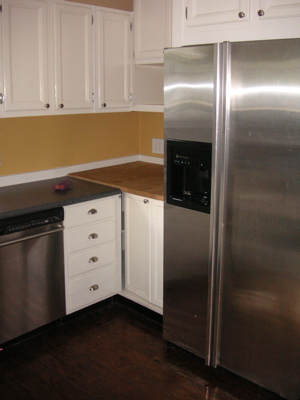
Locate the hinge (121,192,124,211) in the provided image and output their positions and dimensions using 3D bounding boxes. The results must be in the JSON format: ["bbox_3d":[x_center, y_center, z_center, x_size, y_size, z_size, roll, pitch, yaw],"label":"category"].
[{"bbox_3d":[-0.188,0.008,2.278,0.015,0.126,0.026,5,10,28],"label":"hinge"}]

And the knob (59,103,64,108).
[{"bbox_3d":[-0.575,-0.614,2.200,0.009,0.025,0.033,6,11,31],"label":"knob"}]

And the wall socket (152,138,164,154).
[{"bbox_3d":[0.065,-0.472,2.949,0.035,0.136,0.160,-5,11,-33],"label":"wall socket"}]

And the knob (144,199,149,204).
[{"bbox_3d":[-0.025,0.008,2.083,0.019,0.034,0.042,-5,11,-30],"label":"knob"}]

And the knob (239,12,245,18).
[{"bbox_3d":[0.449,-0.906,1.652,0.020,0.025,0.025,-5,11,-30],"label":"knob"}]

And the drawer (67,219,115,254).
[{"bbox_3d":[-0.350,0.251,2.270,0.345,0.151,0.276,-14,-14,5],"label":"drawer"}]

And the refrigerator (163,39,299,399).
[{"bbox_3d":[0.335,0.109,1.589,0.250,1.627,0.762,-6,11,-38],"label":"refrigerator"}]

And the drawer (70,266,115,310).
[{"bbox_3d":[-0.396,0.546,2.241,0.212,0.158,0.277,6,12,38],"label":"drawer"}]
